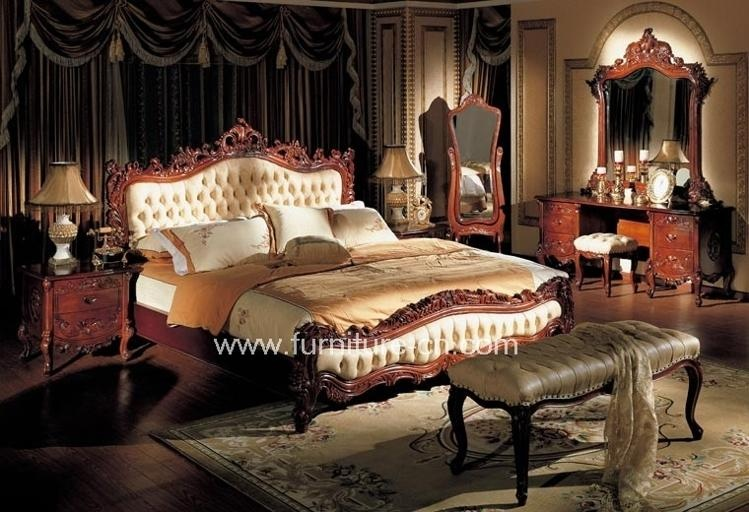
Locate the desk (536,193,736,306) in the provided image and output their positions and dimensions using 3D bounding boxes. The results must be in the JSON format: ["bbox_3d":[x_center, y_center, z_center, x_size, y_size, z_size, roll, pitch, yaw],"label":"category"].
[{"bbox_3d":[3.247,-0.103,7.400,0.869,1.033,2.283,-9,12,-34],"label":"desk"}]

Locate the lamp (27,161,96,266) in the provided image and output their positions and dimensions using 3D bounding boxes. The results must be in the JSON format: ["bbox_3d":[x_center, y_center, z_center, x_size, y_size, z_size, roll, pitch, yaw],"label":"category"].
[{"bbox_3d":[-2.710,-0.380,5.055,0.423,0.876,0.409,6,14,33],"label":"lamp"}]

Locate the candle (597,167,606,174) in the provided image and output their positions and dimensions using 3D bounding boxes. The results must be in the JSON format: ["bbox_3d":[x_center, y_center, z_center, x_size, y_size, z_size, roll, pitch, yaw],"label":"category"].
[{"bbox_3d":[2.970,-1.117,7.509,0.104,0.065,0.098,-4,7,-22],"label":"candle"}]

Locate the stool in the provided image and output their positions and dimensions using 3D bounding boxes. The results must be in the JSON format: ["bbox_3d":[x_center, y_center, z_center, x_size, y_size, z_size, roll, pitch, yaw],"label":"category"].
[{"bbox_3d":[2.755,0.096,7.216,0.816,0.879,0.777,-6,8,-35],"label":"stool"}]

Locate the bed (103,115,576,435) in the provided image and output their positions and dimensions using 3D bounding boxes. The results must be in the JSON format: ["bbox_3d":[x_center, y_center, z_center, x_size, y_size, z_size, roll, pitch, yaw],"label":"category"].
[{"bbox_3d":[-0.612,0.049,5.343,3.434,2.035,3.299,-10,14,-39],"label":"bed"}]

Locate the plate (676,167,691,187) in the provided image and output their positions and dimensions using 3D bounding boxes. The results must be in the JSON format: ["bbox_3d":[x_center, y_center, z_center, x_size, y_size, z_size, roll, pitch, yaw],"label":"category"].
[{"bbox_3d":[3.697,-0.948,6.881,0.025,0.230,0.192,-2,20,-39],"label":"plate"}]

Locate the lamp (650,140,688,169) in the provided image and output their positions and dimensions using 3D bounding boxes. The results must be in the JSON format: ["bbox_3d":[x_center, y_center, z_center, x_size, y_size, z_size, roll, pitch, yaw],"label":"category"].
[{"bbox_3d":[3.599,-1.231,6.967,0.338,0.304,0.361,-6,17,-13],"label":"lamp"}]

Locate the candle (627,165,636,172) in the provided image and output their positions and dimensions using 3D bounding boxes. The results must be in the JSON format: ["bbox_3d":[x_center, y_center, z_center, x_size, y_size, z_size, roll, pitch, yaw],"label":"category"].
[{"bbox_3d":[3.268,-1.116,7.333,0.101,0.065,0.096,-3,5,-17],"label":"candle"}]

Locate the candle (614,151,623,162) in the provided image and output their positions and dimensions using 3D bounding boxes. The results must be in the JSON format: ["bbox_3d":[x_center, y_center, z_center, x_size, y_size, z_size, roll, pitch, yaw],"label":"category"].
[{"bbox_3d":[3.133,-1.277,7.385,0.145,0.150,0.143,1,1,22],"label":"candle"}]
